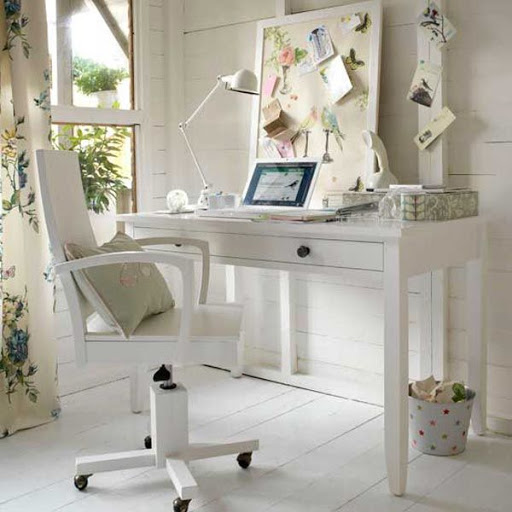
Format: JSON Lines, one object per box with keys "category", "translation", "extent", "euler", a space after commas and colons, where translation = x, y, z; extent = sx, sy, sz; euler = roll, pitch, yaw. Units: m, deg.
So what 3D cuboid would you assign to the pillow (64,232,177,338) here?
{"category": "pillow", "translation": [-0.368, 0.075, 1.472], "extent": [0.237, 0.271, 0.348], "euler": [1, 5, 14]}
